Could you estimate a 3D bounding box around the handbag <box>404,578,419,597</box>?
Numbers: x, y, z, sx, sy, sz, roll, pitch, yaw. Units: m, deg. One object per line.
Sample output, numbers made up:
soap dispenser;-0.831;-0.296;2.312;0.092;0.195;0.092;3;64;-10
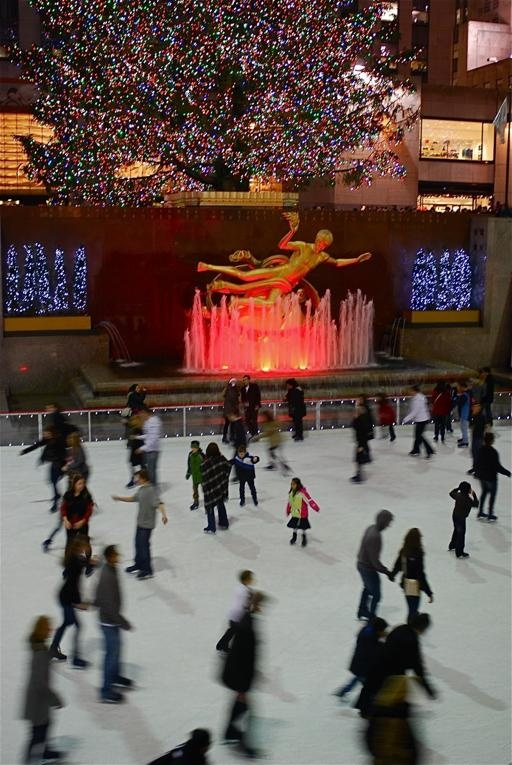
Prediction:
handbag;1.400;1.838;6.519;0.153;0.193;0.108;-1;-11;-3
